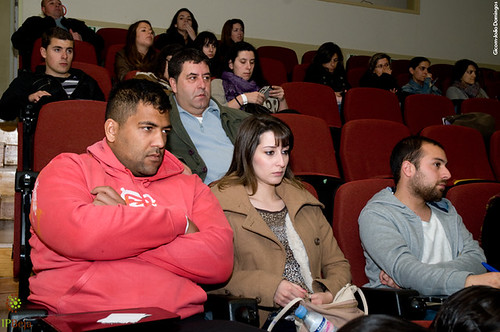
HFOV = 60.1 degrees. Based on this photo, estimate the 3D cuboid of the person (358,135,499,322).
[{"bbox_3d":[0.953,0.349,2.716,0.664,1.013,0.895,8,-15,-39],"label":"person"}]
